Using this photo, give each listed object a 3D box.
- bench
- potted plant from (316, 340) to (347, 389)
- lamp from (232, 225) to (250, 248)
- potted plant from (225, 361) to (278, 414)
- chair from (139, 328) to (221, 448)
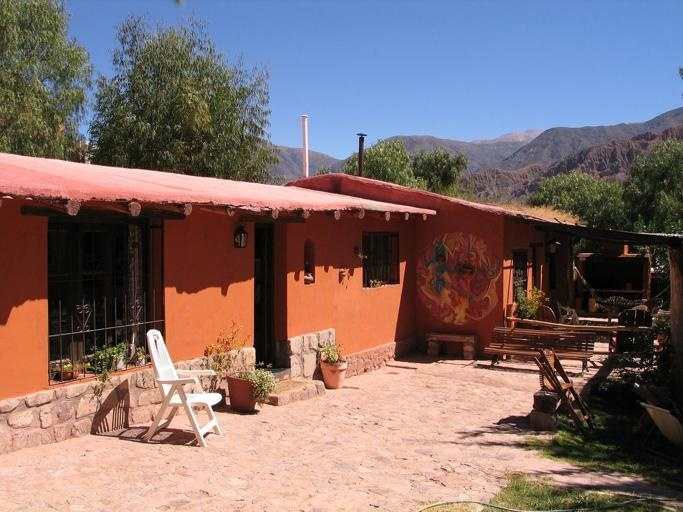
[{"bbox_3d":[4.175,1.822,11.778,2.049,0.594,1.035,6,6,25],"label":"bench"},{"bbox_3d":[-0.233,2.171,11.163,0.425,0.807,0.623,0,6,-31],"label":"potted plant"},{"bbox_3d":[-1.747,-0.325,9.623,0.288,0.495,0.318,-1,1,20],"label":"lamp"},{"bbox_3d":[-1.474,2.134,9.199,0.640,0.675,0.661,2,-1,23],"label":"potted plant"},{"bbox_3d":[-2.253,1.879,8.032,0.937,1.498,1.001,1,-3,-4],"label":"chair"}]
